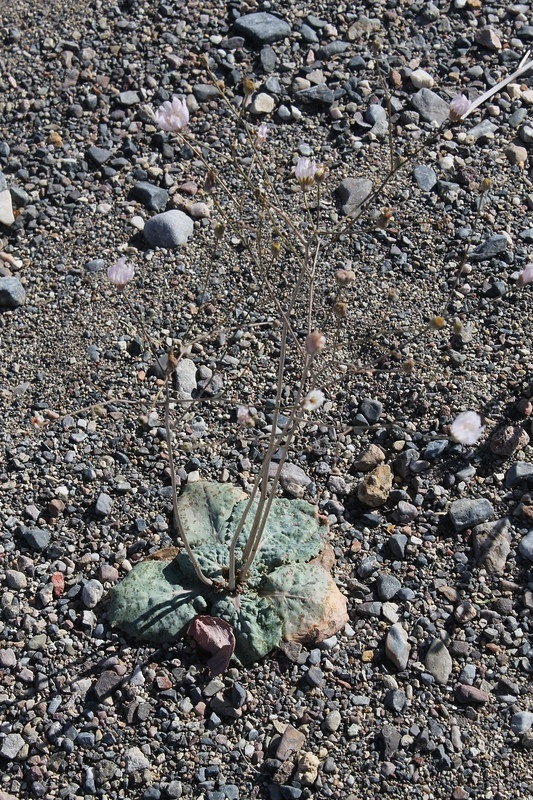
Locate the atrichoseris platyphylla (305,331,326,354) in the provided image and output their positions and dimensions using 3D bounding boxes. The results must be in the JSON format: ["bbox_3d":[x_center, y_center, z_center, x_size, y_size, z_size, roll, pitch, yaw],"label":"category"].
[{"bbox_3d":[0.118,-0.131,2.183,0.038,0.059,0.048,1,18,-44],"label":"atrichoseris platyphylla"}]

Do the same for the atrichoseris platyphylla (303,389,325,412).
[{"bbox_3d":[0.134,0.005,2.568,0.058,0.074,0.021,28,29,-34],"label":"atrichoseris platyphylla"}]
